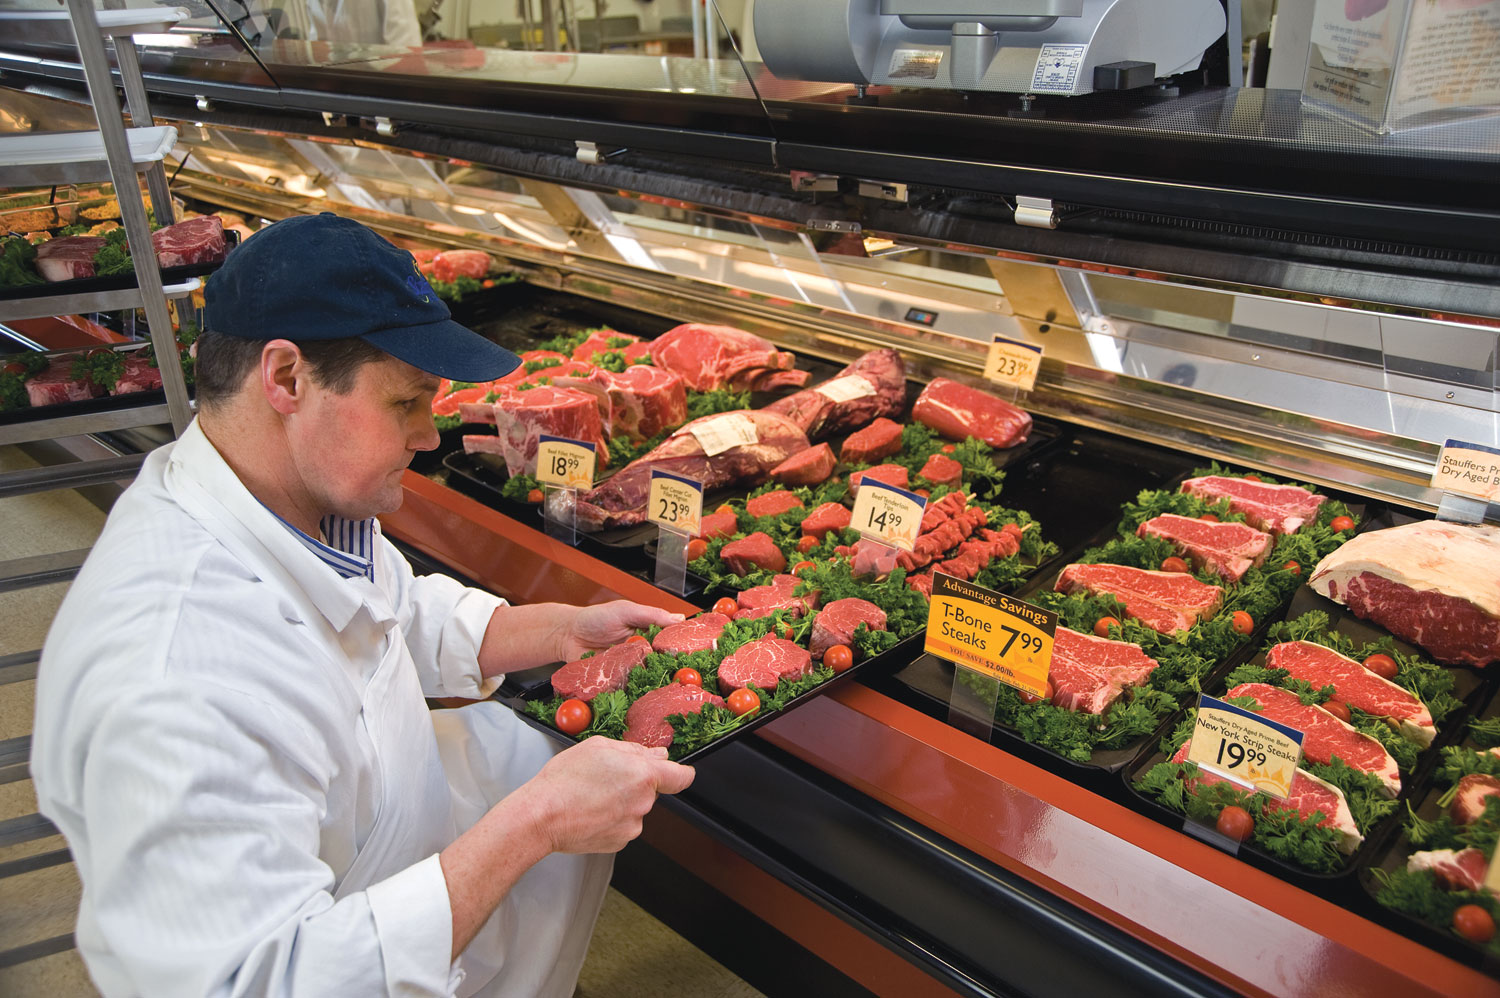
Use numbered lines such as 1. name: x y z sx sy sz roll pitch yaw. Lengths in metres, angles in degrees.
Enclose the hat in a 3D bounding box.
1. hat: -0.752 -0.386 1.934 0.587 0.199 0.324 6 18 -13
